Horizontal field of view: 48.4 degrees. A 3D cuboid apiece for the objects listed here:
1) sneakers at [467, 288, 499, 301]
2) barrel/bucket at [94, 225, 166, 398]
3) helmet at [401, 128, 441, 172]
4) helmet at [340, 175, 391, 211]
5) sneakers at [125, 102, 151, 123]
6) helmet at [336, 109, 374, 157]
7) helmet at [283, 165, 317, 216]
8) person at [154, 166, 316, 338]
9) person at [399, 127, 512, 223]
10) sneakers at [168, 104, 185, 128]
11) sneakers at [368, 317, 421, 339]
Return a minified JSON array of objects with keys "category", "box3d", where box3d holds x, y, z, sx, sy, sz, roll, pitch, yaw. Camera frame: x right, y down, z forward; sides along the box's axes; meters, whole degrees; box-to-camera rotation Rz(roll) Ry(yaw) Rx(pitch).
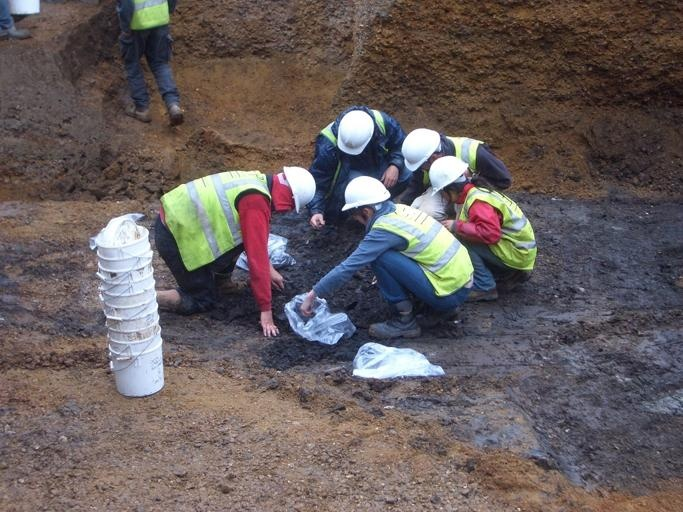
[{"category":"sneakers","box3d":[1.267,0.362,6.821,0.307,0.185,0.093,3,44,1]},{"category":"barrel/bucket","box3d":[-1.539,0.387,5.521,0.405,1.244,0.644,-6,37,-17]},{"category":"helmet","box3d":[0.725,-0.988,7.022,0.348,0.167,0.382,7,60,38]},{"category":"helmet","box3d":[0.188,-0.509,6.258,0.381,0.168,0.252,-6,23,16]},{"category":"sneakers","box3d":[-2.308,-1.629,8.692,0.336,0.134,0.151,27,51,9]},{"category":"helmet","box3d":[0.137,-1.161,7.215,0.324,0.385,0.290,4,34,-2]},{"category":"helmet","box3d":[-0.339,-0.530,6.247,0.206,0.354,0.247,-21,48,2]},{"category":"person","box3d":[-0.941,-0.127,6.445,1.694,1.132,0.961,0,16,-7]},{"category":"person","box3d":[1.092,-0.750,7.285,1.081,1.049,0.586,-11,29,14]},{"category":"sneakers","box3d":[-1.842,-1.549,8.486,0.126,0.224,0.234,-20,42,-23]},{"category":"sneakers","box3d":[0.440,0.602,6.520,0.470,0.188,0.155,4,21,-1]}]
